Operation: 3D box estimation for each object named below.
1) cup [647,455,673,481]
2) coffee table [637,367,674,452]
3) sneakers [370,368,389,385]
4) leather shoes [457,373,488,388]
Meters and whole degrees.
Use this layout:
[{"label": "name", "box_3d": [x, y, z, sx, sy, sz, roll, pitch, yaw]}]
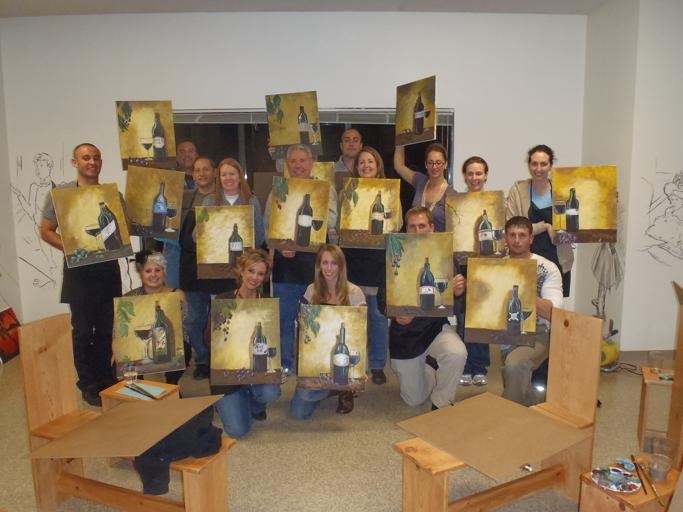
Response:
[{"label": "cup", "box_3d": [1.781, 1.166, 3.489, 0.118, 0.110, 0.127, -3, -1, 0]}, {"label": "coffee table", "box_3d": [2.111, 1.022, 4.200, 0.203, 0.489, 0.328, 1, 7, 28]}, {"label": "sneakers", "box_3d": [0.300, 0.984, 5.076, 0.102, 0.094, 0.219, 0, -6, -6]}, {"label": "leather shoes", "box_3d": [1.016, 0.974, 4.872, 0.172, 0.092, 0.295, 0, -5, 1]}]
